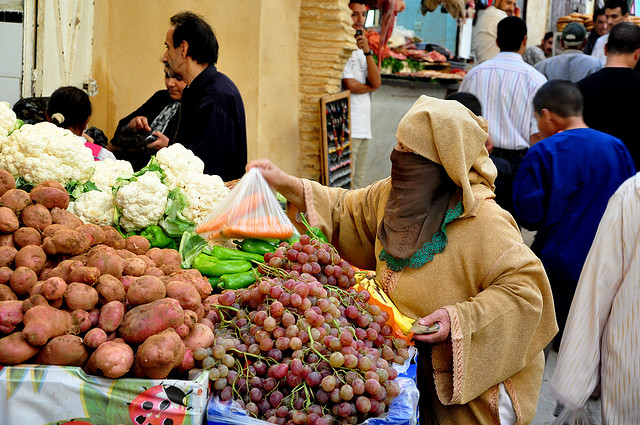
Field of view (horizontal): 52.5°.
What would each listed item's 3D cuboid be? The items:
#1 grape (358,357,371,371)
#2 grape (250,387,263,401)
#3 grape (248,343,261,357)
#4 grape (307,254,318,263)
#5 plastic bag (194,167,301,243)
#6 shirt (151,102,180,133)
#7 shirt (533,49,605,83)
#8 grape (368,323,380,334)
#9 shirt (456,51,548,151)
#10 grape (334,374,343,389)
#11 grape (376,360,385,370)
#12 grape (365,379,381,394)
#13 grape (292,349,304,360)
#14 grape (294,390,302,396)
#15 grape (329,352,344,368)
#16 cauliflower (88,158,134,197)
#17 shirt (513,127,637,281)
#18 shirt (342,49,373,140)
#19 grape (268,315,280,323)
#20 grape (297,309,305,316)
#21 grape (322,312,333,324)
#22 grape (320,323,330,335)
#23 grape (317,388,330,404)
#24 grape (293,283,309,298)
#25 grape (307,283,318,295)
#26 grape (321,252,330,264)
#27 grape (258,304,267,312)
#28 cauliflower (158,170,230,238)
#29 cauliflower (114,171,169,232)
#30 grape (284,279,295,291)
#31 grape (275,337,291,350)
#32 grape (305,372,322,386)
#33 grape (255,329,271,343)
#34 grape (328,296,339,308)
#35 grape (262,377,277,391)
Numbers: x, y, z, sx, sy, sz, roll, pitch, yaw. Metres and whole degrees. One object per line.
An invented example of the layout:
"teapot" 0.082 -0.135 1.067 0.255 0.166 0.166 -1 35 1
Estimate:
"grape" 0.223 0.753 3.229 0.065 0.055 0.032 7 16 0
"grape" -0.313 0.896 3.204 0.049 0.066 0.054 -5 4 39
"grape" -0.328 0.691 3.280 0.064 0.041 0.037 5 16 -7
"grape" -0.038 0.252 3.587 0.035 0.048 0.039 -2 1 0
"plastic bag" -0.415 -0.022 4.012 0.397 0.390 0.594 20 21 38
"shirt" -1.447 -0.900 6.061 0.128 0.470 0.044 27 35 -28
"shirt" 2.754 -1.608 7.165 0.854 0.493 0.354 18 17 38
"grape" 0.296 0.606 3.452 0.054 0.048 0.047 9 18 -41
"shirt" 1.965 -1.207 7.037 1.110 1.068 0.501 9 12 23
"grape" 0.096 0.834 3.197 0.043 0.058 0.045 0 7 2
"grape" 0.304 0.771 3.282 0.053 0.024 0.040 22 23 40
"grape" 0.261 0.848 3.163 0.069 0.056 0.054 26 -10 42
"grape" -0.117 0.711 3.241 0.031 0.036 0.044 0 5 7
"grape" -0.103 0.888 3.198 0.035 0.025 0.014 6 16 -4
"grape" 0.088 0.721 3.217 0.062 0.081 0.066 -1 2 16
"cauliflower" -1.313 -0.235 4.104 0.183 0.234 0.120 42 -24 8
"shirt" 1.902 -0.047 4.839 1.014 1.425 0.766 0 11 6
"shirt" 0.553 -1.559 8.640 0.330 1.154 0.580 16 18 32
"grape" -0.234 0.544 3.319 0.027 0.021 0.035 10 -5 45
"grape" -0.096 0.514 3.357 0.037 0.026 0.021 9 16 6
"grape" 0.043 0.545 3.365 0.039 0.042 0.054 -11 39 -35
"grape" 0.029 0.596 3.329 0.044 0.060 0.047 -2 6 4
"grape" 0.021 0.898 3.184 0.055 0.074 0.058 0 8 2
"grape" -0.097 0.400 3.375 0.074 0.069 0.065 1 25 -21
"grape" -0.037 0.402 3.417 0.055 0.045 0.042 29 -14 -14
"grape" 0.032 0.253 3.611 0.046 0.062 0.050 1 7 6
"grape" -0.297 0.498 3.394 0.046 0.033 0.058 5 17 -6
"cauliflower" -0.792 -0.078 4.104 0.403 0.358 0.217 -36 -5 19
"cauliflower" -1.077 -0.054 3.902 0.224 0.376 0.255 1 1 -5
"grape" -0.155 0.381 3.426 0.040 0.050 0.041 34 -13 6
"grape" -0.183 0.656 3.267 0.068 0.058 0.062 -7 45 -17
"grape" -0.030 0.817 3.188 0.065 0.055 0.053 -2 -24 -7
"grape" -0.290 0.630 3.306 0.071 0.056 0.061 18 20 32
"grape" 0.075 0.476 3.440 0.061 0.045 0.044 6 16 -3
"grape" -0.248 0.851 3.226 0.068 0.062 0.063 -15 45 11
